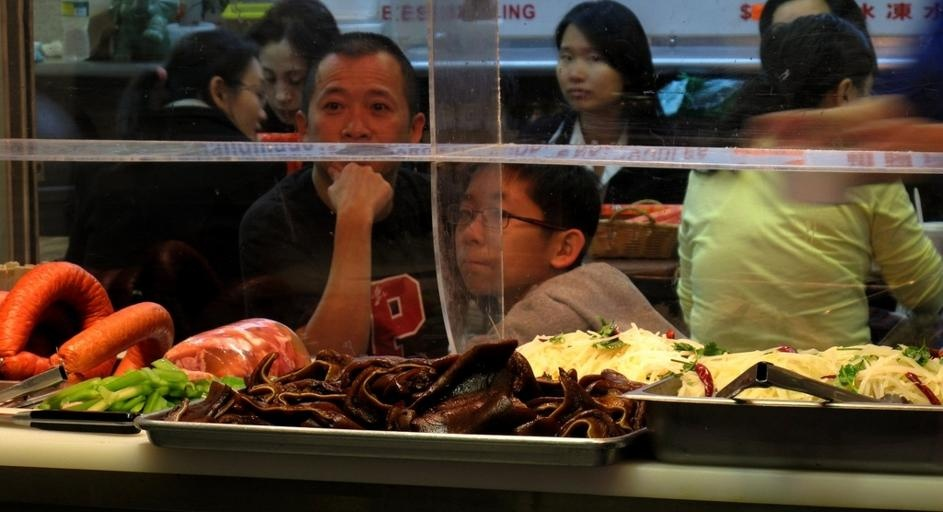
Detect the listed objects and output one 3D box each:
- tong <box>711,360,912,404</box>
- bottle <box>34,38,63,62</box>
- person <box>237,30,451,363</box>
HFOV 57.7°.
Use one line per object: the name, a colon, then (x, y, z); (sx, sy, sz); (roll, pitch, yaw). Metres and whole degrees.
tong: (0.789, 0.292, 1.943); (0.290, 0.064, 0.081); (6, 2, 10)
bottle: (-1.307, -0.625, 2.648); (0.090, 0.073, 0.029); (3, -5, 10)
person: (-0.399, -0.174, 2.475); (0.568, 0.916, 0.379); (-4, 14, -10)
